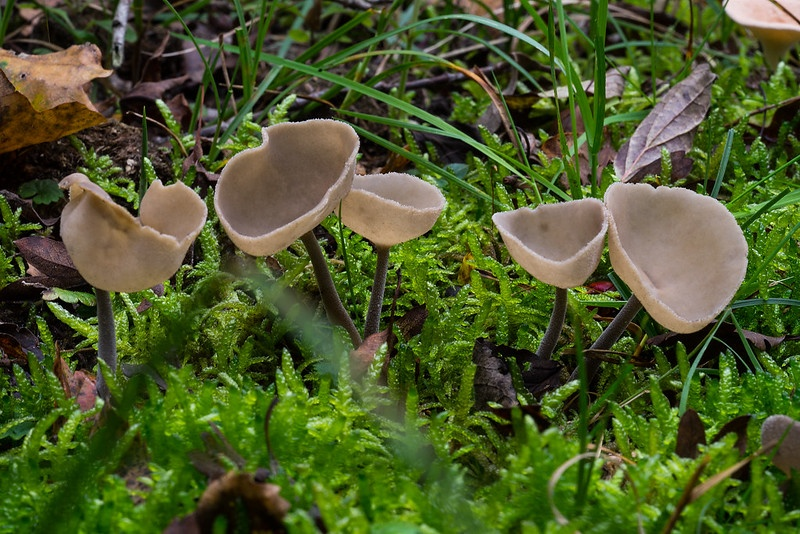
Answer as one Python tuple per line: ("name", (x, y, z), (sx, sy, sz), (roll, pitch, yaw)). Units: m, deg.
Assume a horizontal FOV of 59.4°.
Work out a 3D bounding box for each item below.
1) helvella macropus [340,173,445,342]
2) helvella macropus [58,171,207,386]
("helvella macropus", (-0.032, -0.017, 2.314), (0.334, 0.495, 0.302), (18, 39, 17))
("helvella macropus", (-0.760, -0.046, 2.066), (0.365, 0.388, 0.633), (-10, 98, -37))
